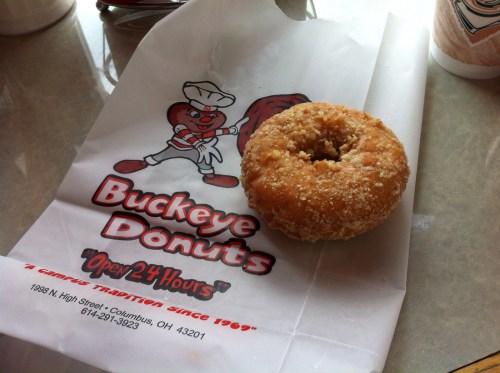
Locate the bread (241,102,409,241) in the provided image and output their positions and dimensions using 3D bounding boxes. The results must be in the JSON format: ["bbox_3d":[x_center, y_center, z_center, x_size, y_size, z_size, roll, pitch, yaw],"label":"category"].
[{"bbox_3d":[0.161,-0.046,1.008,0.323,0.122,0.326,36,66,26],"label":"bread"}]
